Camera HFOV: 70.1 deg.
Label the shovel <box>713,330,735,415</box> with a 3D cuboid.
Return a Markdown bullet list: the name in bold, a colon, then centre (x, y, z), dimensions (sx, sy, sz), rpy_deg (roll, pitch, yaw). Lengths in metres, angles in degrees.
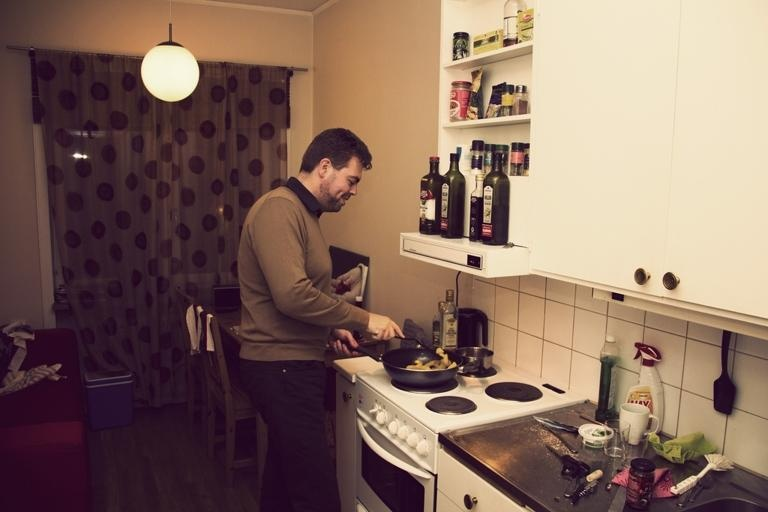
- **shovel**: centre (1.327, 0.458, 2.119), dimensions (0.078, 0.332, 0.050), rpy_deg (10, 16, 38)

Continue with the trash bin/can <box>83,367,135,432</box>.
- **trash bin/can**: centre (-2.098, 1.112, 4.191), dimensions (0.383, 0.451, 0.249), rpy_deg (-1, 16, -22)

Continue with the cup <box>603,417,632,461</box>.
- **cup**: centre (0.945, 0.746, 2.221), dimensions (0.089, 0.144, 0.148), rpy_deg (0, -1, 30)

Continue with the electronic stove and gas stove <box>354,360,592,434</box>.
- **electronic stove and gas stove**: centre (0.405, 0.718, 2.732), dimensions (0.985, 0.177, 0.659), rpy_deg (-4, 14, -18)

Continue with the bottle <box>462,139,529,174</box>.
- **bottle**: centre (0.542, -0.471, 2.621), dimensions (0.205, 0.134, 0.073), rpy_deg (9, 14, 39)

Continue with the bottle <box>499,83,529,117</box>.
- **bottle**: centre (0.632, -0.720, 2.613), dimensions (0.136, 0.219, 0.151), rpy_deg (3, 5, 16)

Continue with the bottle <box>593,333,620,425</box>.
- **bottle**: centre (0.999, 0.539, 2.440), dimensions (0.087, 0.358, 0.171), rpy_deg (5, 13, 22)

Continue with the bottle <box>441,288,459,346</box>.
- **bottle**: centre (0.373, 0.338, 3.044), dimensions (0.097, 0.313, 0.181), rpy_deg (6, 14, 26)

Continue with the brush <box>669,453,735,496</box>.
- **brush**: centre (1.184, 0.825, 2.055), dimensions (0.255, 0.086, 0.122), rpy_deg (-28, 26, -32)

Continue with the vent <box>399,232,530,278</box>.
- **vent**: centre (0.372, -0.022, 2.668), dimensions (0.178, 0.149, 0.774), rpy_deg (-7, 15, -30)

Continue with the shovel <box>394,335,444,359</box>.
- **shovel**: centre (0.176, 0.472, 2.906), dimensions (0.313, 0.057, 0.097), rpy_deg (15, 9, 6)

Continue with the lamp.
- **lamp**: centre (-1.442, -1.316, 3.697), dimensions (0.350, 0.501, 0.229), rpy_deg (-1, 13, -5)

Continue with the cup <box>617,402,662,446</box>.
- **cup**: centre (1.030, 0.679, 2.309), dimensions (0.130, 0.154, 0.203), rpy_deg (-1, 7, -15)

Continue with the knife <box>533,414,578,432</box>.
- **knife**: centre (0.743, 0.734, 2.386), dimensions (0.194, 0.017, 0.068), rpy_deg (8, 15, 30)

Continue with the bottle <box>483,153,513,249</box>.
- **bottle**: centre (0.520, -0.270, 2.542), dimensions (0.106, 0.432, 0.176), rpy_deg (0, 12, 1)

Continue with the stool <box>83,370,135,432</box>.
- **stool**: centre (-2.089, 1.116, 4.175), dimensions (0.384, 0.451, 0.242), rpy_deg (0, 14, -20)
